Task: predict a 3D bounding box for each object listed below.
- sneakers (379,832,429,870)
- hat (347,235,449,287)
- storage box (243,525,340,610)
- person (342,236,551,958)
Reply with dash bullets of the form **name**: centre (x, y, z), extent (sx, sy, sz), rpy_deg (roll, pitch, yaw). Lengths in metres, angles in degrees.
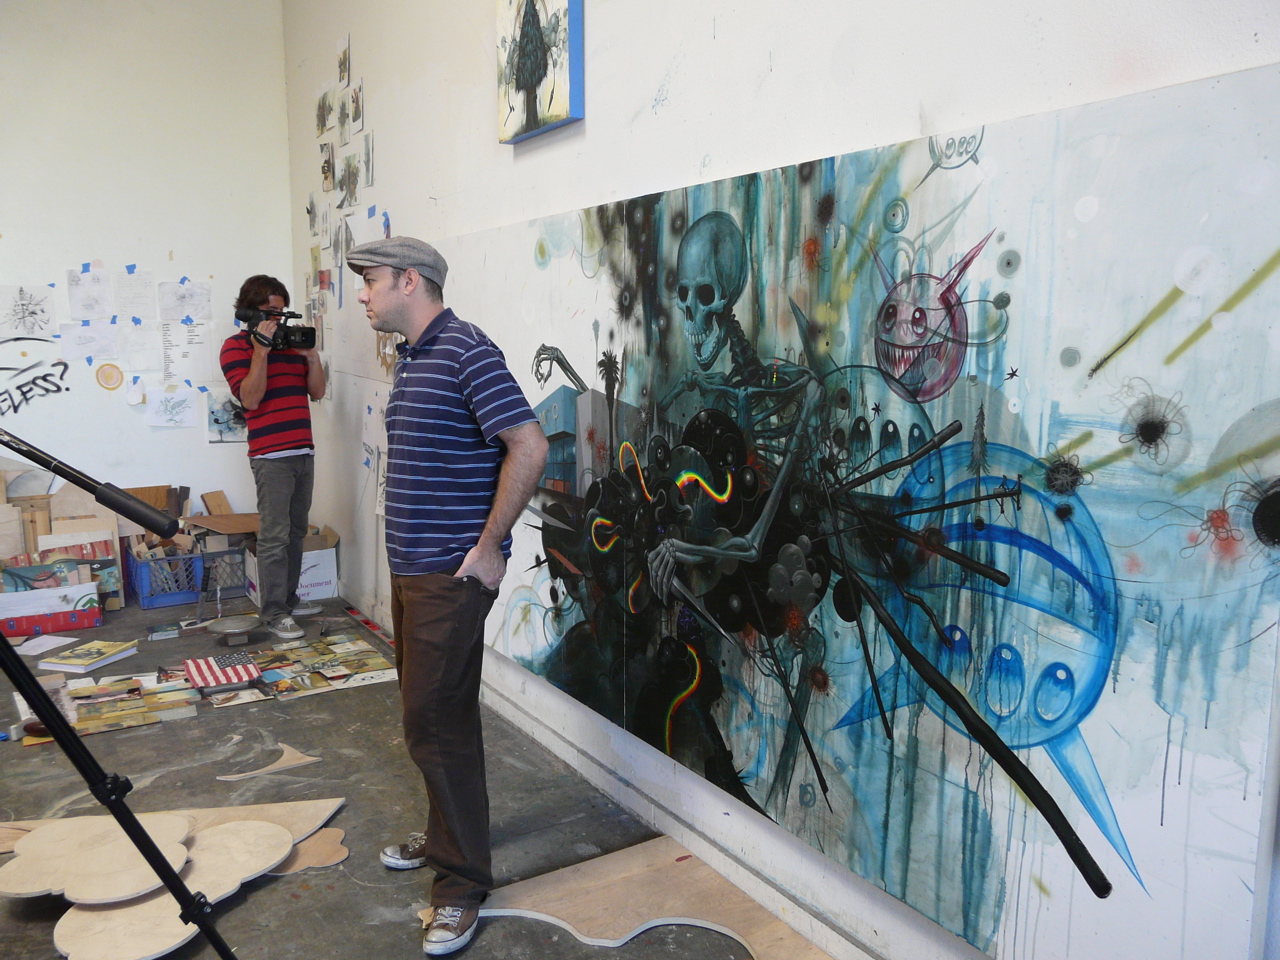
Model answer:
- **sneakers**: centre (-0.749, 1.190, 2.946), extent (0.199, 0.103, 0.082), rpy_deg (11, -8, -35)
- **hat**: centre (-0.705, -0.634, 2.623), extent (0.213, 0.111, 0.153), rpy_deg (13, 4, -19)
- **storage box**: centre (-2.066, 0.565, 5.487), extent (0.398, 0.505, 0.445), rpy_deg (-2, -17, -17)
- **person**: centre (-0.565, 0.305, 2.623), extent (0.362, 1.961, 0.549), rpy_deg (-8, 12, -44)
